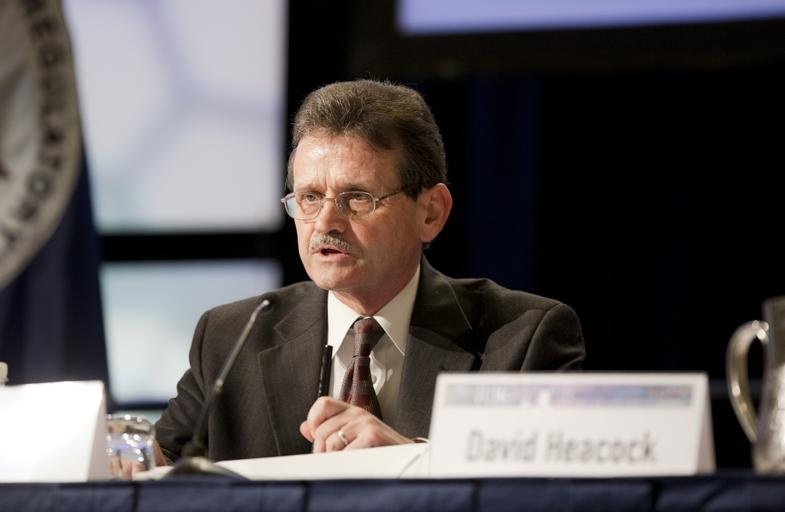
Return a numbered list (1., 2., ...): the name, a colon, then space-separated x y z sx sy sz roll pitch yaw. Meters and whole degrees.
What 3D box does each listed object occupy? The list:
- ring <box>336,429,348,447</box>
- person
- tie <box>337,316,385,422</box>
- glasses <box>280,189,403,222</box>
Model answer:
1. ring: -0.134 0.483 2.503 0.014 0.038 0.031 -27 2 -19
2. person: -0.092 0.255 3.033 1.662 1.470 0.932 -2 -5 15
3. tie: -0.096 0.336 2.848 0.118 0.302 0.147 -2 0 13
4. glasses: -0.136 -0.159 2.891 0.328 0.090 0.087 -2 -1 2
